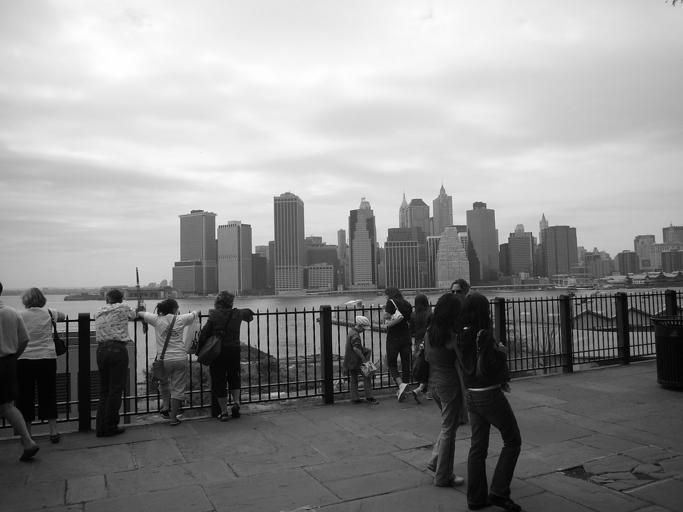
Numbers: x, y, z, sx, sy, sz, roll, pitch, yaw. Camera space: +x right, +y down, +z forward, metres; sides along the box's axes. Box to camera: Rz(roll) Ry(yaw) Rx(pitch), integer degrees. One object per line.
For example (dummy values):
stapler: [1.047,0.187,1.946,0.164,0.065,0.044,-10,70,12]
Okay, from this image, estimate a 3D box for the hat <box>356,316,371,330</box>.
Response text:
hat: [0.393,1.245,11.336,0.282,0.274,0.397,-1,3,-1]

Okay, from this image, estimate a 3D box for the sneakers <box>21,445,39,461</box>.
sneakers: [-4.480,2.841,8.686,0.138,0.152,0.383,-11,-20,-44]

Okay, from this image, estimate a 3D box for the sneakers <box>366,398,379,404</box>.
sneakers: [0.587,2.773,11.549,0.205,0.107,0.099,-4,-3,19]

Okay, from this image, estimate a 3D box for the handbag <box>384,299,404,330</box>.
handbag: [0.999,1.104,11.454,0.366,0.482,0.213,-37,-20,24]

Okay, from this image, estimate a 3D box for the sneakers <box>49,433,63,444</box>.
sneakers: [-4.477,2.850,9.431,0.085,0.093,0.247,1,0,-17]

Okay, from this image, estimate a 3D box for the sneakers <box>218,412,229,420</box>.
sneakers: [-2.068,2.770,10.497,0.197,0.128,0.187,-1,3,-2]

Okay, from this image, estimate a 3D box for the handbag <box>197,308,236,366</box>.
handbag: [-2.150,1.410,10.312,0.627,0.896,0.360,-2,3,-15]

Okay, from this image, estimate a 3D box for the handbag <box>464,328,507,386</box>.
handbag: [1.696,1.234,7.250,0.441,0.694,0.645,-5,1,-28]

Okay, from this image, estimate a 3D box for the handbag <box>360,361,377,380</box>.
handbag: [0.525,2.136,11.353,0.230,0.346,0.448,2,4,37]

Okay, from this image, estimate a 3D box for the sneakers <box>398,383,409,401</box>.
sneakers: [1.109,2.508,11.006,0.132,0.412,0.171,-6,31,-31]

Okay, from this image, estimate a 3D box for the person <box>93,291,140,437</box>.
person: [-3.724,1.698,9.832,0.612,2.349,0.675,-1,3,-12]

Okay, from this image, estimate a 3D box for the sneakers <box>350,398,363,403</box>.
sneakers: [0.282,2.786,11.621,0.216,0.100,0.075,-2,-3,-3]

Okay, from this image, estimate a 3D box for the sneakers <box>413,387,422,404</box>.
sneakers: [1.449,2.688,11.532,0.114,0.347,0.146,14,48,44]
